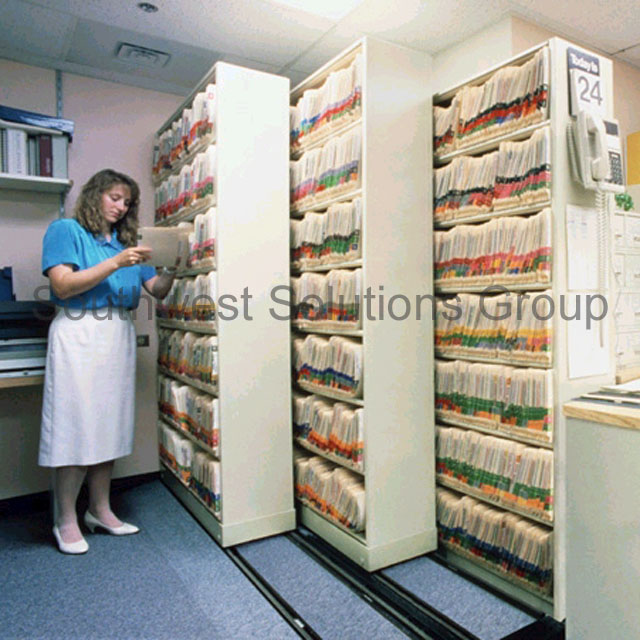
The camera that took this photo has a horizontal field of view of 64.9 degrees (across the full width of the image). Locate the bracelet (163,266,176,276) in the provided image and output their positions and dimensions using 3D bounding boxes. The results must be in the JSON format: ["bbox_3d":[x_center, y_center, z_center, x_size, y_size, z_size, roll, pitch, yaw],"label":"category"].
[{"bbox_3d":[-0.755,-0.251,2.503,0.043,0.047,0.044,20,22,40],"label":"bracelet"}]

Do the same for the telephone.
[{"bbox_3d":[1.045,-0.630,1.881,0.243,0.293,0.113,-2,3,-39],"label":"telephone"}]
